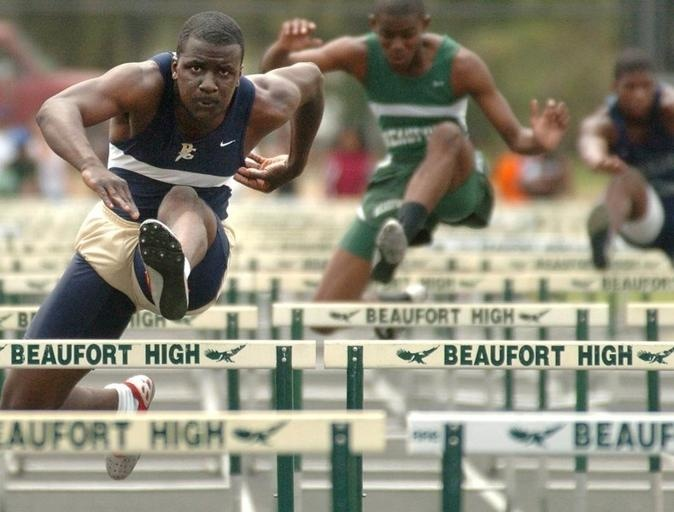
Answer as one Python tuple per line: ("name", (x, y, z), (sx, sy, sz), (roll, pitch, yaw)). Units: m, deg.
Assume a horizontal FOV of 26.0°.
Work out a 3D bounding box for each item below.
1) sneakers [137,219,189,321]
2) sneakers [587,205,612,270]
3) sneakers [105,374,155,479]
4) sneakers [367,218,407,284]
("sneakers", (-0.910, 0.084, 7.865), (0.213, 0.559, 0.229), (-11, 25, -5))
("sneakers", (1.769, -0.141, 9.785), (0.142, 0.427, 0.177), (-3, 4, 33))
("sneakers", (-1.228, 0.966, 8.521), (0.288, 0.644, 0.228), (6, -5, -40))
("sneakers", (0.322, -0.046, 8.880), (0.155, 0.400, 0.170), (18, 25, 1))
